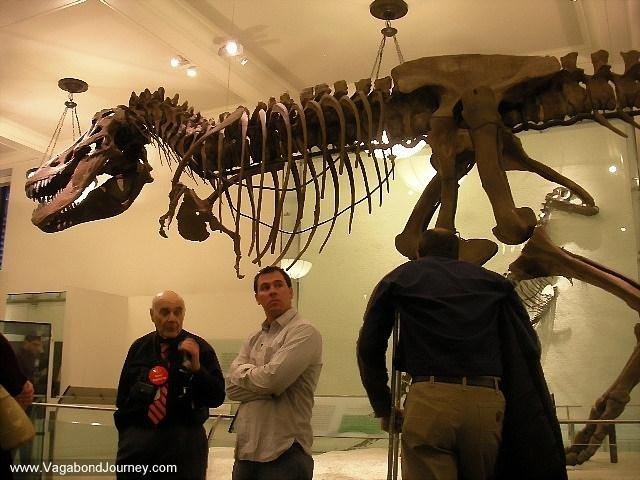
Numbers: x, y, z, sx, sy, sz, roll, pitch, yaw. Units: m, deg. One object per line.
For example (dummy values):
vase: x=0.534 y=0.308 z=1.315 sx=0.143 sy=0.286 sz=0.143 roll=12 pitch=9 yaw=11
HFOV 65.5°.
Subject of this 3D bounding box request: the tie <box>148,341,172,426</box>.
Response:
tie: x=-0.996 y=0.954 z=3.075 sx=0.118 sy=0.332 sz=0.084 roll=0 pitch=-6 yaw=-16
